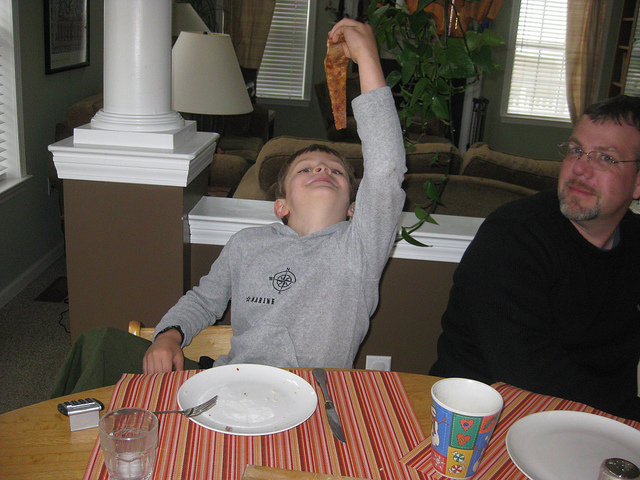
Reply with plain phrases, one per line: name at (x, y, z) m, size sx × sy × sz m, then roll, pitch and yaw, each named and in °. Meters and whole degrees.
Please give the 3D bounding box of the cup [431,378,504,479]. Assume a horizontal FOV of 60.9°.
cup at (0.269, 0.352, 1.023) m, size 0.130 × 0.143 × 0.120 m, roll 2°, pitch 24°, yaw -1°

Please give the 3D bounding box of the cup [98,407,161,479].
cup at (-0.336, 0.363, 0.970) m, size 0.106 × 0.116 × 0.108 m, roll 2°, pitch 18°, yaw -1°

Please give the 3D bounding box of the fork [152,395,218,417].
fork at (-0.263, 0.338, 1.085) m, size 0.129 × 0.012 × 0.049 m, roll -8°, pitch 25°, yaw -22°

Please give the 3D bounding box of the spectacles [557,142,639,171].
spectacles at (0.794, -0.228, 1.520) m, size 0.188 × 0.061 × 0.052 m, roll 10°, pitch 25°, yaw 18°

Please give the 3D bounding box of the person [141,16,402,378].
person at (-0.208, -0.067, 1.634) m, size 0.710 × 1.129 × 0.674 m, roll -7°, pitch 26°, yaw -19°
